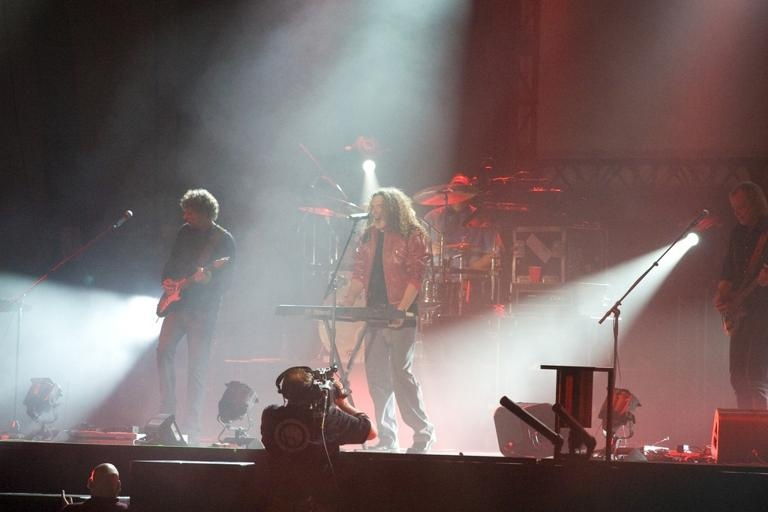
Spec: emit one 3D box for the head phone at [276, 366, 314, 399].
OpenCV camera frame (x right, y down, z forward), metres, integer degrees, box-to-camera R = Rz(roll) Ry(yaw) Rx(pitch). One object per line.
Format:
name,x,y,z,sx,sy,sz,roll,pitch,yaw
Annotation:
head phone,-0.772,1.112,6.513,0.339,0.285,0.177,0,-19,13

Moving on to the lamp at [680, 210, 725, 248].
lamp,4.364,-0.348,10.251,0.574,0.181,0.174,-21,-44,-22

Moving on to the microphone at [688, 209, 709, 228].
microphone,3.996,-0.488,9.551,0.220,0.146,0.850,33,23,11

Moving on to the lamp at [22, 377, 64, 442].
lamp,-4.028,1.802,8.881,0.442,0.759,1.123,13,-21,-23

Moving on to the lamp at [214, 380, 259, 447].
lamp,-1.636,1.805,8.429,0.432,0.747,1.776,7,-19,-9

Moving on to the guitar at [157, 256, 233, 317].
guitar,-2.194,0.335,8.514,0.790,0.701,0.256,-4,-20,22

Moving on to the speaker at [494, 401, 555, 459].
speaker,1.442,1.787,7.790,0.592,0.577,0.377,1,-19,8
